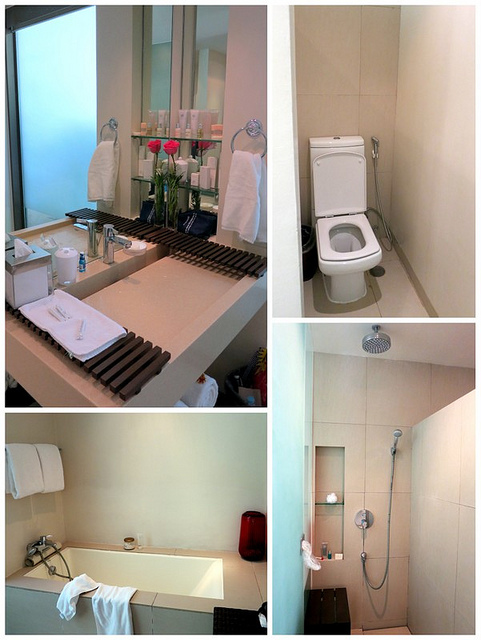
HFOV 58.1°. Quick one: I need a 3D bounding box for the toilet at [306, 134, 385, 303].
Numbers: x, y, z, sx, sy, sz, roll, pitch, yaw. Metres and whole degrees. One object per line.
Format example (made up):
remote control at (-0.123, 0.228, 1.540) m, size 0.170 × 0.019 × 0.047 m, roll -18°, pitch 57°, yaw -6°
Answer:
toilet at (0.563, -0.543, 2.377) m, size 0.256 × 0.721 × 0.616 m, roll -5°, pitch 37°, yaw 5°
